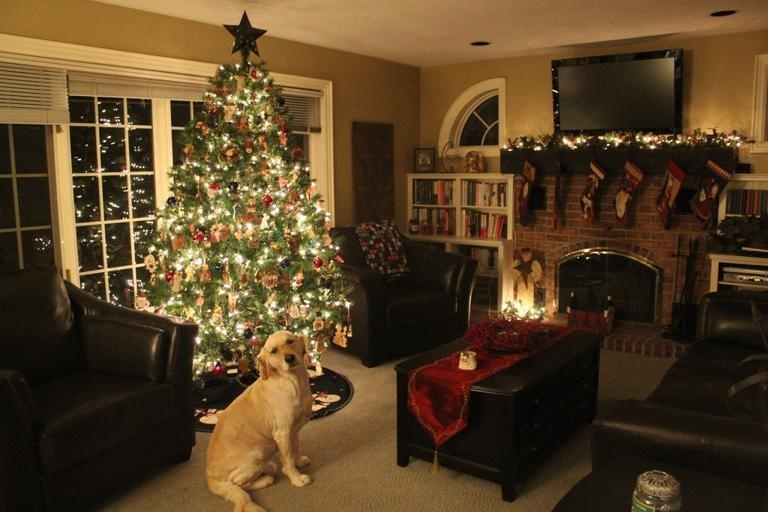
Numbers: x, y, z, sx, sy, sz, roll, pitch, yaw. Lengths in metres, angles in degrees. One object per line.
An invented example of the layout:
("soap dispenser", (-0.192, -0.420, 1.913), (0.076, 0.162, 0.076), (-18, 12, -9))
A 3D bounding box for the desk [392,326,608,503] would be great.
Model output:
("desk", (0.866, 1.008, 4.290), (0.943, 0.683, 1.537), (4, 10, 40))

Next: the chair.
("chair", (0.117, 0.343, 5.803), (1.402, 1.056, 1.163), (-4, 9, -20))

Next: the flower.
("flower", (0.923, 0.519, 4.167), (0.348, 0.174, 0.414), (5, 11, 34))

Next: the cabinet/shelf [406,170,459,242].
("cabinet/shelf", (0.635, -0.587, 7.124), (0.743, 0.724, 0.254), (5, 9, 40))

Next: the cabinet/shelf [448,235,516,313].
("cabinet/shelf", (1.074, 0.207, 6.334), (0.700, 0.668, 0.247), (22, 14, 30))

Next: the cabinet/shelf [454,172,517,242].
("cabinet/shelf", (1.181, -0.561, 6.781), (0.811, 0.913, 0.268), (1, 2, 33))
